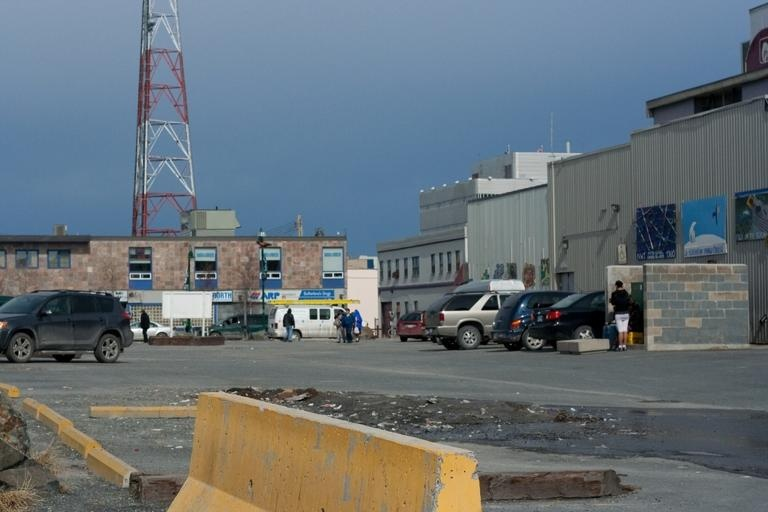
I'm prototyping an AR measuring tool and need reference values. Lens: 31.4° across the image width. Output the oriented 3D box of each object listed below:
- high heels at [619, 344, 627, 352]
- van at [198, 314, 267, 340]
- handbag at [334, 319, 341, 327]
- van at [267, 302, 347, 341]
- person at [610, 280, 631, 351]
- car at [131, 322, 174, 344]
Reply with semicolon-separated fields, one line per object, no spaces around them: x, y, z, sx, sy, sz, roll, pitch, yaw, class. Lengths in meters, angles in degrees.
7.829;3.050;45.086;0.179;0.253;0.563;1;3;9;high heels
-8.347;4.081;78.622;3.043;1.546;1.550;1;-2;-11;van
-2.472;3.514;71.479;0.285;0.548;0.534;-4;11;-23;handbag
-4.368;3.703;73.759;3.322;1.705;1.976;-2;1;-17;van
7.680;1.983;44.613;0.609;2.221;1.511;-1;-3;10;person
-12.172;4.057;71.352;3.317;1.222;1.608;3;-2;-11;car
